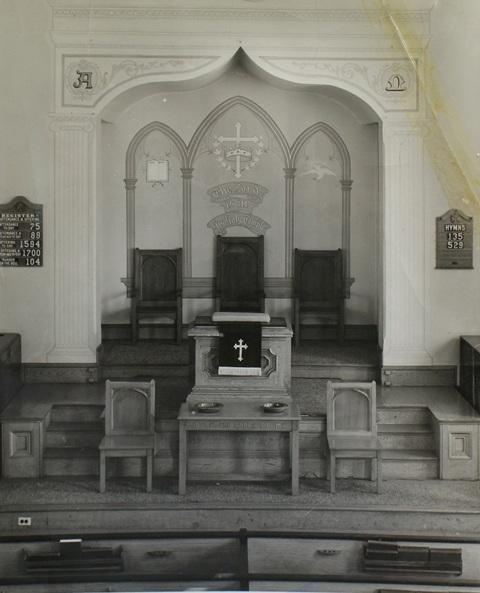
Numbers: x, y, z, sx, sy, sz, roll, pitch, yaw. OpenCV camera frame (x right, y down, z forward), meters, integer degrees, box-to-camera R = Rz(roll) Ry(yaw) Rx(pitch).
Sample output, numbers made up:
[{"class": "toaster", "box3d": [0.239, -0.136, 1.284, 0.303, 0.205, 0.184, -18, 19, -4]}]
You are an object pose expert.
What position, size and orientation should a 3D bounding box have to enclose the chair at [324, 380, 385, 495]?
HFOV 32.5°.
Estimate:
[{"class": "chair", "box3d": [0.681, 0.828, 4.935, 0.336, 0.644, 0.425, 1, -3, 8]}]
